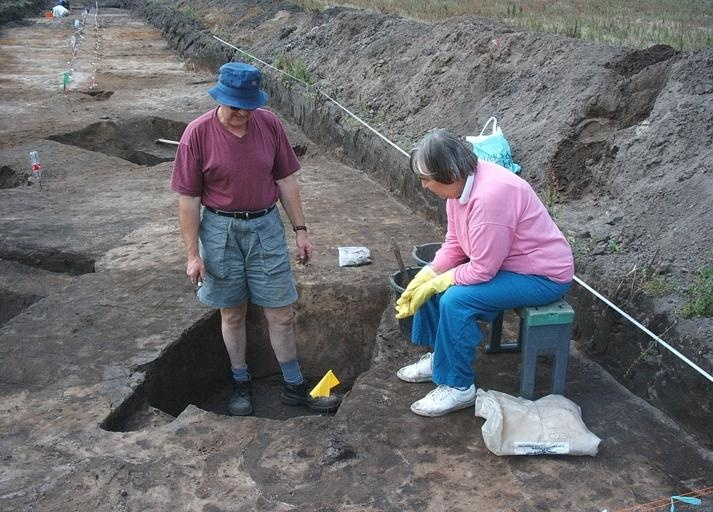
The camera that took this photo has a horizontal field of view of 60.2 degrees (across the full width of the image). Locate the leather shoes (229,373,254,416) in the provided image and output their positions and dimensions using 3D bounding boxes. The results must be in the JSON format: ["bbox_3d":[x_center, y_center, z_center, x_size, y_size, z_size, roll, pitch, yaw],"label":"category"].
[{"bbox_3d":[-0.810,0.962,4.360,0.164,0.148,0.422,1,14,-7],"label":"leather shoes"}]

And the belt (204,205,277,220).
[{"bbox_3d":[-0.705,-0.269,3.799,0.422,0.068,0.123,-6,27,-12],"label":"belt"}]

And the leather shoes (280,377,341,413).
[{"bbox_3d":[-0.333,0.971,4.428,0.474,0.203,0.184,4,19,22],"label":"leather shoes"}]

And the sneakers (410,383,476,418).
[{"bbox_3d":[0.514,0.858,3.652,0.427,0.160,0.157,-10,25,0],"label":"sneakers"}]

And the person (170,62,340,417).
[{"bbox_3d":[-0.687,-0.006,3.961,0.820,2.308,0.486,-8,29,-15],"label":"person"}]

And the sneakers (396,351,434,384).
[{"bbox_3d":[0.393,0.707,3.938,0.306,0.127,0.107,-4,38,9],"label":"sneakers"}]

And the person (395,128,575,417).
[{"bbox_3d":[0.716,0.089,3.643,0.957,1.568,0.609,-9,29,-16],"label":"person"}]

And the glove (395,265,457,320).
[{"bbox_3d":[0.436,0.222,3.733,0.126,0.359,0.210,34,23,-50],"label":"glove"}]

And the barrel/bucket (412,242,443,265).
[{"bbox_3d":[0.514,-0.014,4.522,0.184,0.116,0.173,-8,25,4],"label":"barrel/bucket"}]

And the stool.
[{"bbox_3d":[1.042,0.571,3.717,0.265,0.441,0.497,-3,22,-4],"label":"stool"}]

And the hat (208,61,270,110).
[{"bbox_3d":[-0.669,-0.999,3.576,0.373,0.176,0.321,20,40,12],"label":"hat"}]
